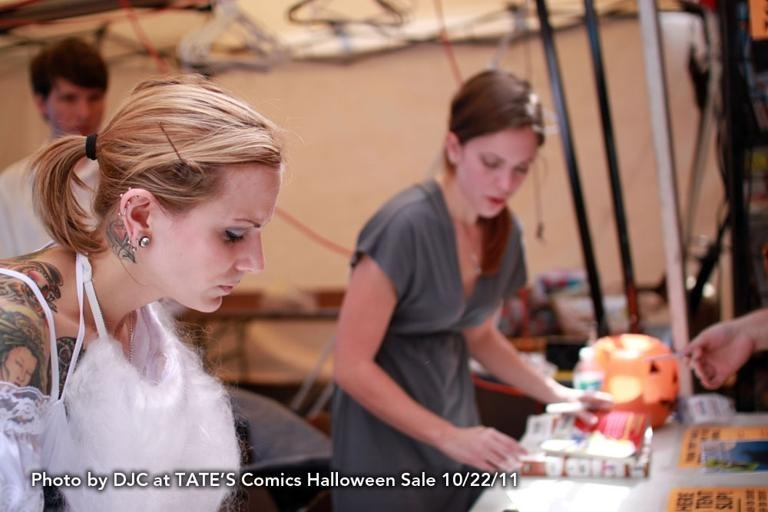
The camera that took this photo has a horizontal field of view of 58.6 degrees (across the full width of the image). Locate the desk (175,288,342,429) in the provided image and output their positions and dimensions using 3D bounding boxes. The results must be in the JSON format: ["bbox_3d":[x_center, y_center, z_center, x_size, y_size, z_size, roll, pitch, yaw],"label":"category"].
[{"bbox_3d":[-0.241,0.177,1.669,0.426,0.356,0.307,2,8,5],"label":"desk"}]
